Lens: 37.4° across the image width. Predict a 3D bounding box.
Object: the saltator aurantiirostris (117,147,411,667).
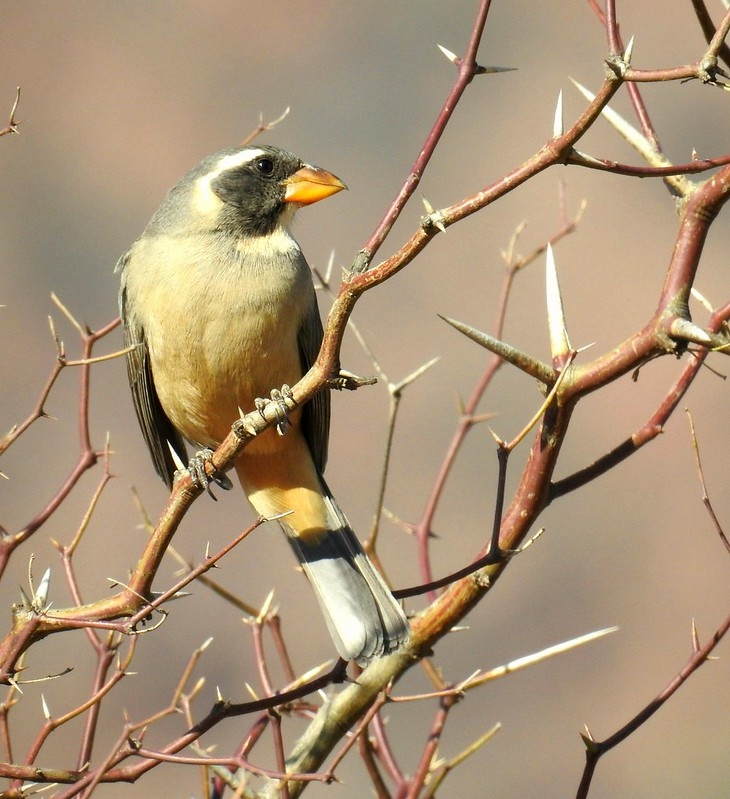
[{"bbox_3d":[-0.244,0.170,3.510,0.608,0.864,1.798,-6,-52,-2],"label":"saltator aurantiirostris"}]
